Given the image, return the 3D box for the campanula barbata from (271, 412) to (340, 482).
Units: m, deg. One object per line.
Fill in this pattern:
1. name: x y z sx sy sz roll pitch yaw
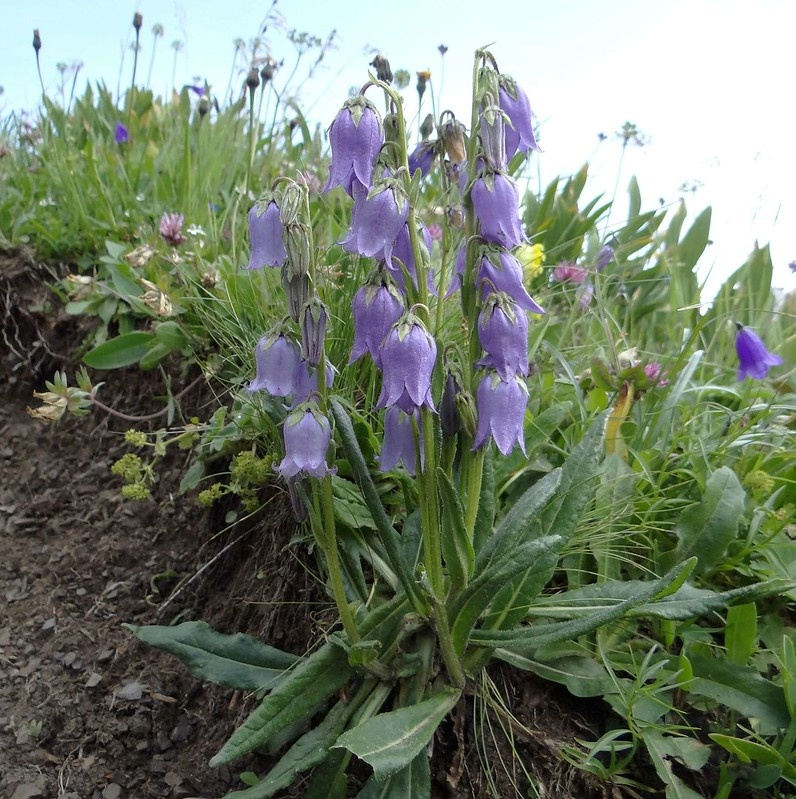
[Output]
1. campanula barbata: -0.197 0.095 1.555 0.096 0.145 0.114 7 -1 0

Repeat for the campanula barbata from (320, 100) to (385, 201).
1. campanula barbata: -0.096 -0.507 1.457 0.098 0.206 0.101 9 2 -23

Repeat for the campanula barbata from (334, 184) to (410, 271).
1. campanula barbata: -0.036 -0.373 1.406 0.114 0.162 0.115 14 42 -12

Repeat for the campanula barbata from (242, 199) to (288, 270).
1. campanula barbata: -0.270 -0.348 1.524 0.091 0.141 0.106 0 13 -1

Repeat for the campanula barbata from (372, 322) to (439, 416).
1. campanula barbata: 0.024 -0.076 1.441 0.102 0.185 0.112 14 -14 -25

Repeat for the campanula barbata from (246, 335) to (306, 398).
1. campanula barbata: -0.286 -0.072 1.580 0.103 0.134 0.111 -1 6 28

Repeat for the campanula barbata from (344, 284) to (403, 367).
1. campanula barbata: -0.047 -0.156 1.471 0.094 0.188 0.097 8 -5 -4
